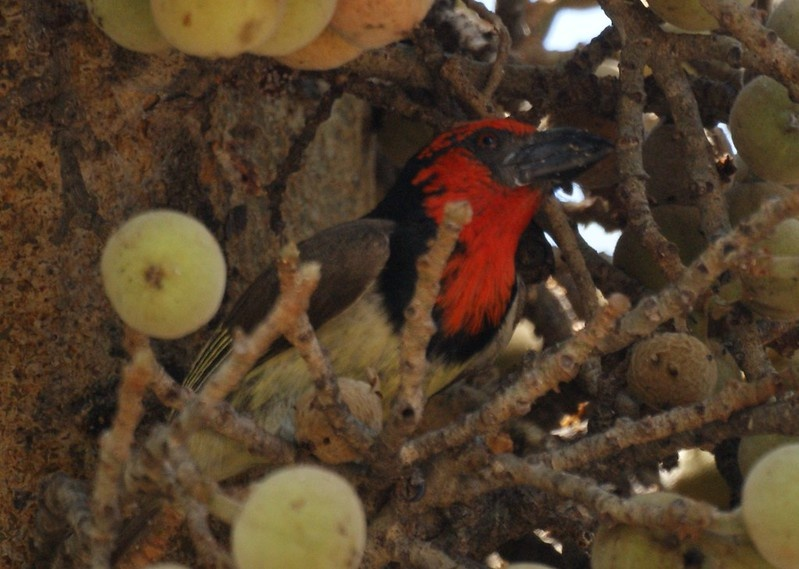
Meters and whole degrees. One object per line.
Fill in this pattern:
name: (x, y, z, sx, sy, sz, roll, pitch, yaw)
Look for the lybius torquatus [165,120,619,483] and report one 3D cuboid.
lybius torquatus: (-0.143, 0.100, 4.141, 1.388, 1.036, 0.707, -4, -22, 38)
